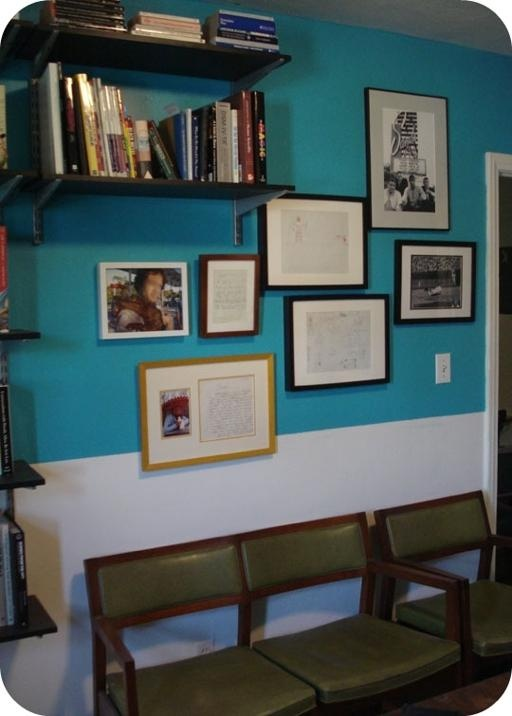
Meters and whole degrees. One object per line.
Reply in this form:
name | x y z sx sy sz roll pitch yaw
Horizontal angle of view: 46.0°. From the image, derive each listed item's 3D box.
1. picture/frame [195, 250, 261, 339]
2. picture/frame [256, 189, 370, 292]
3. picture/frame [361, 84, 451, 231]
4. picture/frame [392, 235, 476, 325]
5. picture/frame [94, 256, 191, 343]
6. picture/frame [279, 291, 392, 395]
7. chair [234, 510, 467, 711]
picture/frame | -0.101 -0.206 1.934 0.267 0.361 0.036 -3 5 -34
picture/frame | 0.178 -0.406 2.085 0.380 0.289 0.030 -2 4 -32
picture/frame | 0.552 -0.762 2.286 0.572 0.765 0.027 -3 3 -34
picture/frame | 0.694 -0.310 2.399 0.357 0.303 0.027 -3 4 -31
picture/frame | -0.354 -0.175 1.796 0.246 0.208 0.032 -5 9 -30
picture/frame | 0.305 -0.059 2.186 0.469 0.357 0.034 -10 10 -31
chair | 0.314 0.711 1.995 0.711 0.708 0.576 0 -8 -29
